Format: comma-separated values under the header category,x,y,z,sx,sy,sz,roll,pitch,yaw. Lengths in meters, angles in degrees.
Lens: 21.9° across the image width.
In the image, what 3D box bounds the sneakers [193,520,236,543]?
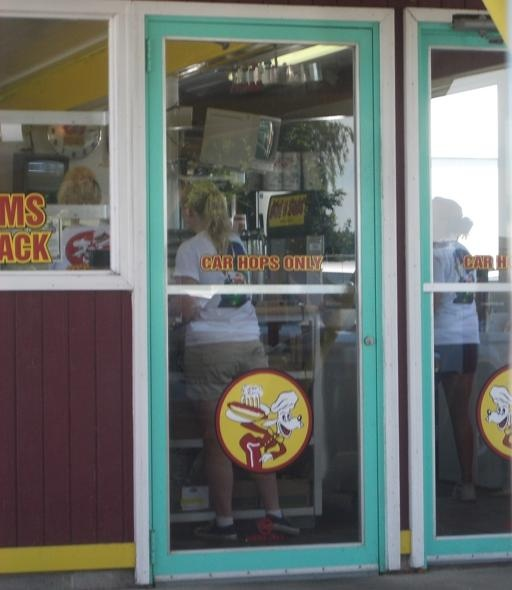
category,x,y,z,sx,sy,sz,roll,pitch,yaw
sneakers,-0.180,1.056,5.816,0.180,0.110,0.085,7,-11,-6

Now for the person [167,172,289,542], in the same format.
category,x,y,z,sx,sy,sz,roll,pitch,yaw
person,-0.089,0.340,5.864,0.181,1.057,0.246,2,-10,44

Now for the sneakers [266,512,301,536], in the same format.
category,x,y,z,sx,sy,sz,roll,pitch,yaw
sneakers,0.118,1.019,5.858,0.167,0.098,0.073,15,-15,-5
